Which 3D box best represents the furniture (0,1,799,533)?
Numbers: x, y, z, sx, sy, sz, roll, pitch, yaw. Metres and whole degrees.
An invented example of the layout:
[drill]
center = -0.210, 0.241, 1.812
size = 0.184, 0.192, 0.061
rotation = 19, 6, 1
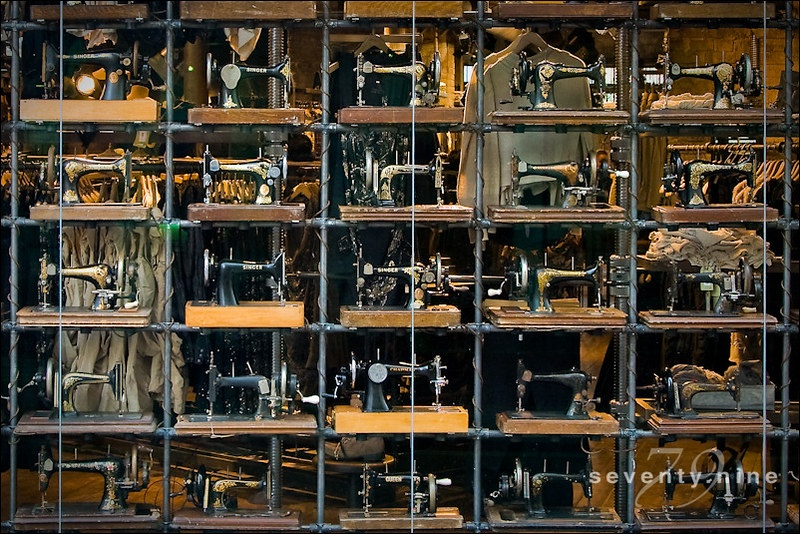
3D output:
[furniture]
center = -0.125, 0.012, 12.098
size = 3.813, 3.408, 1.370
rotation = 0, 1, 0
